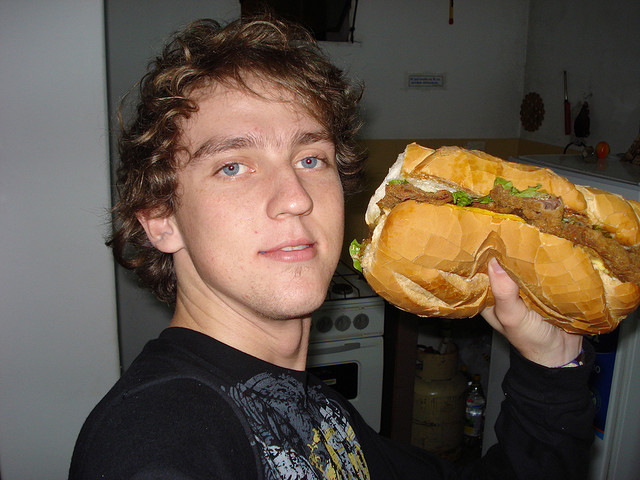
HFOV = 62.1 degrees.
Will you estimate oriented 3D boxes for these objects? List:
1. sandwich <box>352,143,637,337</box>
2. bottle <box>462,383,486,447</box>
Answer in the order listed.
[{"bbox_3d":[0.452,-0.038,1.589,0.782,0.389,0.470,5,37,4],"label":"sandwich"},{"bbox_3d":[1.126,1.325,3.850,0.128,0.488,0.179,4,21,20],"label":"bottle"}]
